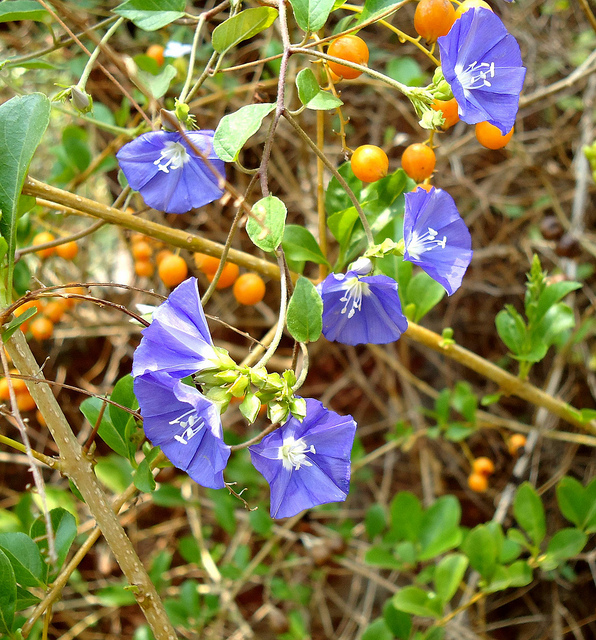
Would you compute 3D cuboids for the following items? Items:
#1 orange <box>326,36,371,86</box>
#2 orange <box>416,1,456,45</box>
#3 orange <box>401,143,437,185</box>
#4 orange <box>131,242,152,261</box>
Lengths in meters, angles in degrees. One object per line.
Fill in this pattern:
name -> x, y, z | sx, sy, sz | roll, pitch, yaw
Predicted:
orange -> 0.089, -0.484, 1.197 | 0.083, 0.078, 0.091 | -4, 101, -26
orange -> 0.241, -0.520, 1.153 | 0.068, 0.077, 0.063 | 0, 65, 11
orange -> 0.223, -0.283, 1.222 | 0.057, 0.085, 0.066 | -7, 64, 8
orange -> -0.453, -0.198, 1.894 | 0.043, 0.049, 0.041 | 35, 53, -22
